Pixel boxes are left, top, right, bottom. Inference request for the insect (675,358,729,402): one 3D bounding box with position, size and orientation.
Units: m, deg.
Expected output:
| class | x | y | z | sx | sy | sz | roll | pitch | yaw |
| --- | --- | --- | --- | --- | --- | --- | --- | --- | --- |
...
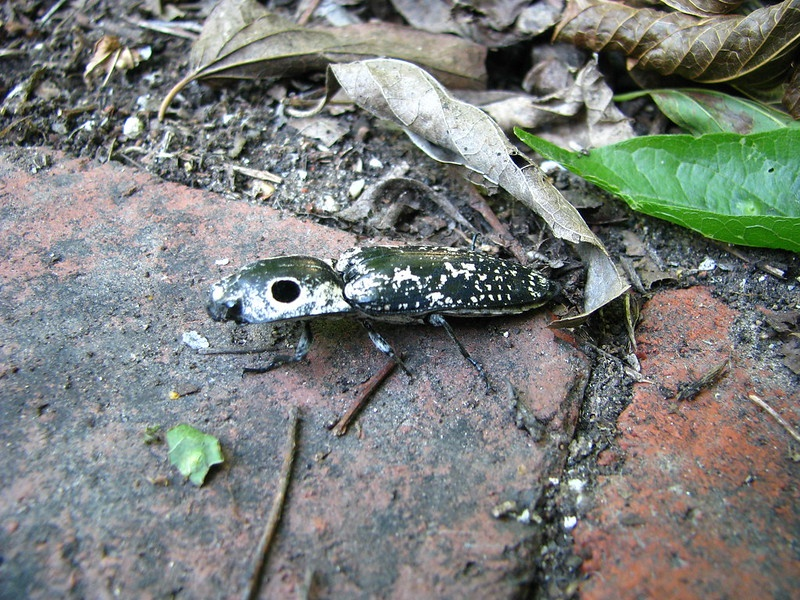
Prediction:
| class | x | y | z | sx | sy | sz | roll | pitch | yaw |
| --- | --- | --- | --- | --- | --- | --- | --- | --- | --- |
| insect | 1.376 | 0.361 | 3.171 | 0.325 | 0.088 | 0.086 | -24 | 53 | -22 |
